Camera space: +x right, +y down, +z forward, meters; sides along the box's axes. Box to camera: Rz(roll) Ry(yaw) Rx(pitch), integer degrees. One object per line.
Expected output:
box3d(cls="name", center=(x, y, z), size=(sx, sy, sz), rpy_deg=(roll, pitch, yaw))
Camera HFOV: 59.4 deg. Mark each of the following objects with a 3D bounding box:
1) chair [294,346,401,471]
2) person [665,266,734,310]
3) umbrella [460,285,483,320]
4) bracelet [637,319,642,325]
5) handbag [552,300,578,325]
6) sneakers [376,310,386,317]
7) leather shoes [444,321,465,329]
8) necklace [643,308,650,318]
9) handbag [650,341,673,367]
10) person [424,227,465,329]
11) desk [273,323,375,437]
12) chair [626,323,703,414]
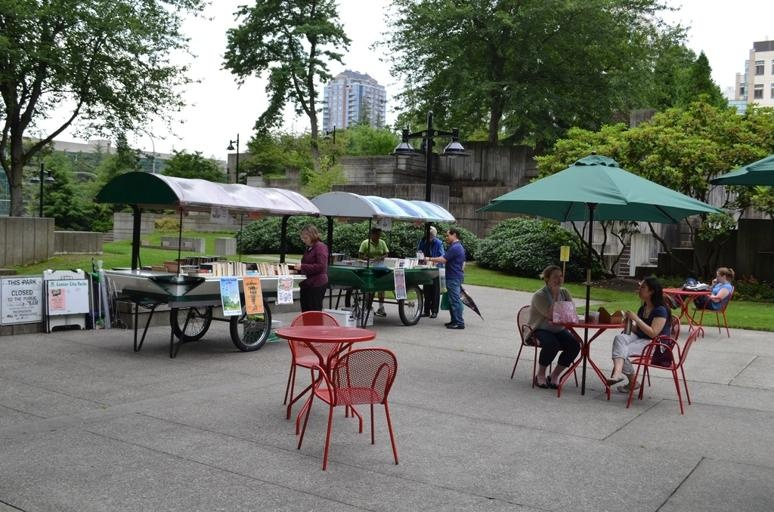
box3d(cls="chair", center=(-0.568, 1.935, 9.598), size=(1.378, 1.531, 1.673), rpy_deg=(-1, 8, -16))
box3d(cls="person", center=(8.070, 0.805, 17.460), size=(1.738, 1.066, 0.797), rpy_deg=(8, 9, -1))
box3d(cls="umbrella", center=(2.540, 1.439, 20.400), size=(0.337, 1.006, 0.310), rpy_deg=(-35, 24, 19))
box3d(cls="bracelet", center=(4.267, 1.113, 11.435), size=(0.064, 0.068, 0.069), rpy_deg=(4, 4, 38))
box3d(cls="handbag", center=(3.072, 0.984, 11.628), size=(0.443, 0.383, 0.316), rpy_deg=(3, 8, 13))
box3d(cls="sneakers", center=(-0.190, 1.606, 18.825), size=(0.134, 0.163, 0.369), rpy_deg=(2, -4, -26))
box3d(cls="leather shoes", center=(1.730, 1.792, 17.483), size=(0.503, 0.211, 0.188), rpy_deg=(10, -2, 8))
box3d(cls="necklace", center=(4.486, 0.986, 11.680), size=(0.092, 0.135, 0.050), rpy_deg=(6, 36, -14))
box3d(cls="handbag", center=(4.667, 1.653, 11.430), size=(0.392, 0.492, 0.341), rpy_deg=(2, 2, 7))
box3d(cls="person", center=(1.690, 0.580, 17.571), size=(0.732, 2.536, 0.863), rpy_deg=(-2, 8, -24))
box3d(cls="desk", center=(-1.024, 1.708, 10.204), size=(1.327, 1.564, 1.449), rpy_deg=(1, 1, -12))
box3d(cls="chair", center=(4.809, 1.925, 11.658), size=(0.913, 1.234, 0.942), rpy_deg=(2, -14, -20))
